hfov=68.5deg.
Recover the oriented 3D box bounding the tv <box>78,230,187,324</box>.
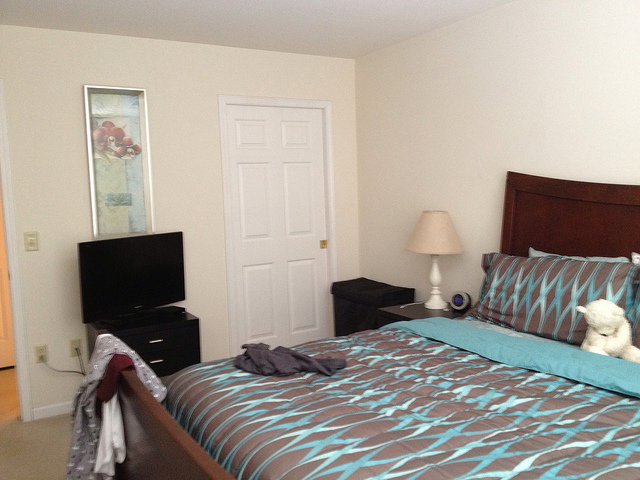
[{"bbox_3d":[-1.474,0.285,3.630,0.714,0.494,0.054,-5,4,-41],"label":"tv"}]

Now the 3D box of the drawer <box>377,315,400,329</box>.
[{"bbox_3d":[0.526,0.640,3.765,0.062,0.095,0.102,-30,-36,35],"label":"drawer"}]

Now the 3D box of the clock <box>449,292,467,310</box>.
[{"bbox_3d":[1.086,0.465,3.669,0.114,0.114,0.112,-3,20,-41],"label":"clock"}]

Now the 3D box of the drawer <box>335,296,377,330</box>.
[{"bbox_3d":[0.315,0.655,4.314,0.228,0.272,0.408,-1,3,-30],"label":"drawer"}]

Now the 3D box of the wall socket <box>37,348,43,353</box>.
[{"bbox_3d":[-2.160,0.839,3.633,0.039,0.036,0.009,6,0,-32],"label":"wall socket"}]

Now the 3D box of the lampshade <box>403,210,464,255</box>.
[{"bbox_3d":[0.887,-0.045,3.796,0.442,0.335,0.429,-3,18,-27],"label":"lampshade"}]

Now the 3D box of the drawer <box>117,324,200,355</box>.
[{"bbox_3d":[-1.195,0.707,3.428,0.361,0.241,0.196,-3,5,-31],"label":"drawer"}]
